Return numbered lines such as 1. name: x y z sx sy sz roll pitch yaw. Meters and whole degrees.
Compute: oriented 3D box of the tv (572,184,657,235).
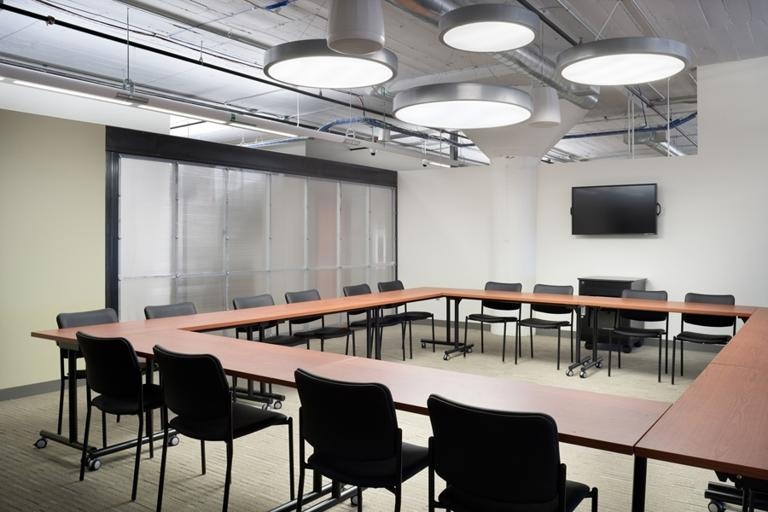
1. tv: 4.002 -0.787 9.350 1.445 0.884 0.063 2 17 34
